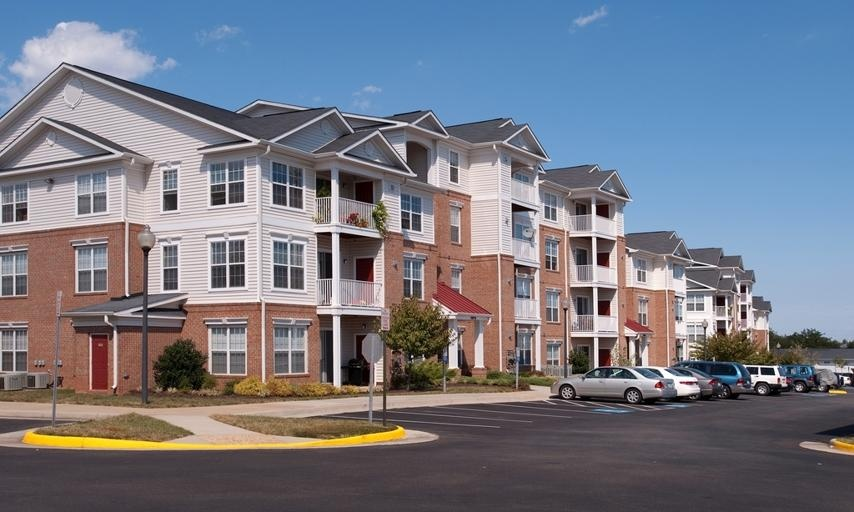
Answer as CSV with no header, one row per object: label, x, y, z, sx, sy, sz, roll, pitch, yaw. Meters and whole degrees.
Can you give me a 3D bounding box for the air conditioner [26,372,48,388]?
air conditioner,-20.039,6.357,46.302,0.708,0.850,1.330,-6,-9,44
